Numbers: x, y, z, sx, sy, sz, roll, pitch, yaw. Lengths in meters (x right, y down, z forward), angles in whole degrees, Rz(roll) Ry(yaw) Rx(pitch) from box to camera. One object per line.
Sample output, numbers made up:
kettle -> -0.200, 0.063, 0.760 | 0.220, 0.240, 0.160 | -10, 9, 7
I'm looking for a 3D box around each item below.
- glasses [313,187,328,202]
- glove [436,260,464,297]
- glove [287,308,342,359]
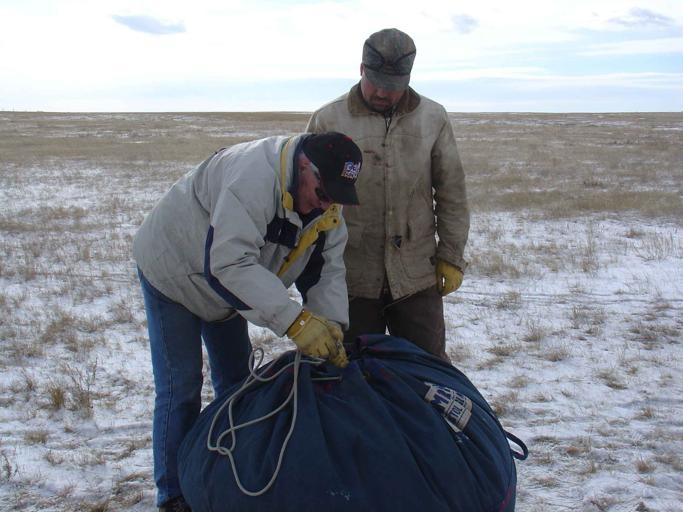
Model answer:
glasses -> -0.184, -0.559, 6.888 | 0.074, 0.136, 0.043 | -31, -5, 25
glove -> 1.127, 0.193, 8.132 | 0.231, 0.383, 0.141 | 9, 11, -6
glove -> -0.228, 0.743, 7.012 | 0.560, 0.583, 0.279 | -7, 14, -16
